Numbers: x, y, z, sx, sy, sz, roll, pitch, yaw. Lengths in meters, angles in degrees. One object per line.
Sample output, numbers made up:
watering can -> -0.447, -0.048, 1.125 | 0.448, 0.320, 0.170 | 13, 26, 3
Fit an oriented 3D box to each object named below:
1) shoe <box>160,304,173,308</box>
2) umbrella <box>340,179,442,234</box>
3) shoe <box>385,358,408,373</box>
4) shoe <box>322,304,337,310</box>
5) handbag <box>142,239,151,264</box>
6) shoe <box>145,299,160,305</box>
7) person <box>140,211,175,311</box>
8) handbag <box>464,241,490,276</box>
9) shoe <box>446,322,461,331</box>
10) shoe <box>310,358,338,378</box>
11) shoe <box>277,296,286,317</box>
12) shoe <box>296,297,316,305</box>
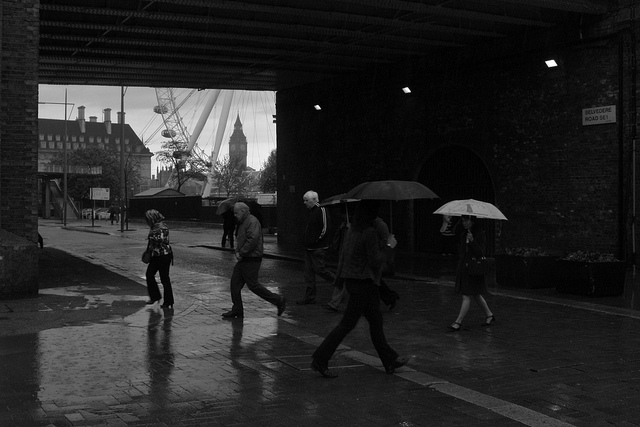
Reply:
shoe -> -3.356, 2.013, 14.153 | 0.267, 0.070, 0.104 | -1, 4, -15
umbrella -> 1.183, -0.080, 12.994 | 1.984, 1.077, 1.945 | -1, 3, 12
shoe -> 1.163, 2.300, 9.804 | 0.351, 0.210, 0.120 | -1, 4, -22
shoe -> 0.193, 2.015, 13.949 | 0.344, 0.104, 0.124 | 3, 5, 40
handbag -> -3.842, 0.841, 14.359 | 0.181, 0.561, 0.423 | -1, 4, -15
shoe -> -3.802, 1.972, 14.470 | 0.234, 0.111, 0.174 | 0, 3, 2
person -> -3.534, 1.009, 14.262 | 0.624, 2.103, 0.931 | -3, 4, -38
handbag -> 2.993, 0.830, 12.136 | 0.452, 0.657, 0.189 | -7, 18, 26
shoe -> 2.526, 2.112, 12.105 | 0.225, 0.088, 0.108 | 13, -14, -25
shoe -> 0.066, 2.287, 9.698 | 0.394, 0.286, 0.240 | 0, 3, -4
shoe -> -0.778, 1.914, 13.377 | 0.161, 0.392, 0.131 | 0, 9, -15
shoe -> -0.341, 2.004, 14.717 | 0.480, 0.192, 0.163 | 5, -4, -6
